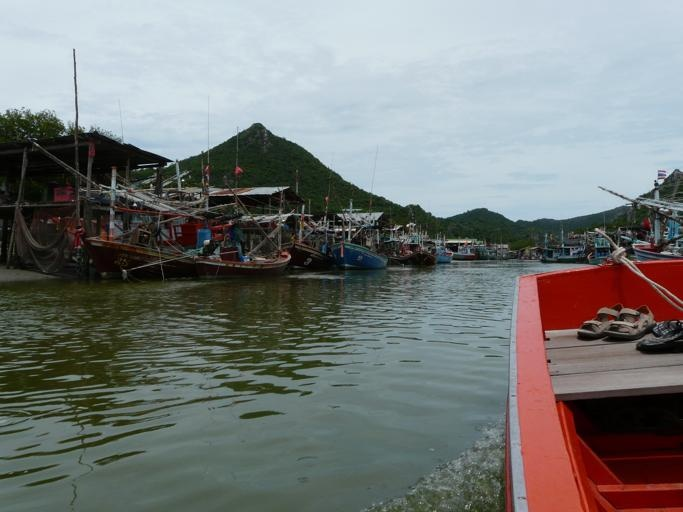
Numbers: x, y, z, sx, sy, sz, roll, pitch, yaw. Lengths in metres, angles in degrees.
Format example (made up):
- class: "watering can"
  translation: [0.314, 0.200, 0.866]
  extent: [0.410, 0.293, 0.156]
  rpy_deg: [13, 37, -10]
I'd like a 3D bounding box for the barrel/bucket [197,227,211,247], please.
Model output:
- class: "barrel/bucket"
  translation: [-6.013, -0.745, 24.880]
  extent: [0.586, 0.923, 1.172]
  rpy_deg: [-2, 9, -14]
